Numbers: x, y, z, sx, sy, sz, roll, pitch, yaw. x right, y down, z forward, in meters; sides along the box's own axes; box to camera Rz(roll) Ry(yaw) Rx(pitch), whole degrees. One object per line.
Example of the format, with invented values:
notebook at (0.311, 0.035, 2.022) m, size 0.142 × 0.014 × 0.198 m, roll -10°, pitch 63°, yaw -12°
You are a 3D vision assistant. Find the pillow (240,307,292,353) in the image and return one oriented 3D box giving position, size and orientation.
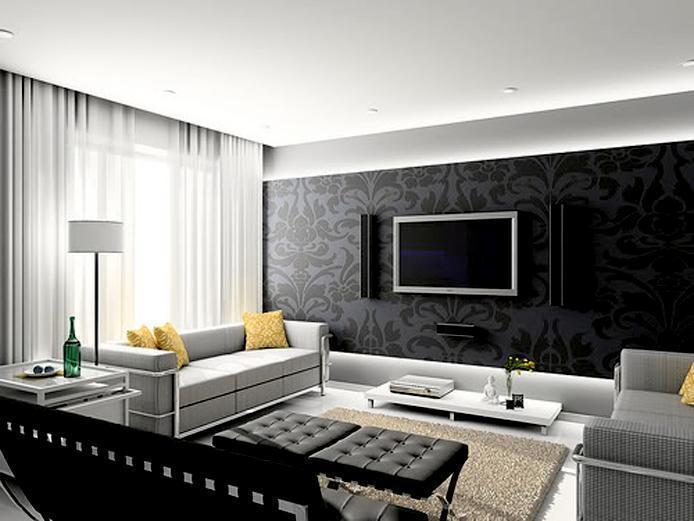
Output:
pillow at (-0.973, 0.731, 6.028) m, size 0.663 × 0.577 × 0.191 m, roll -9°, pitch 1°, yaw 30°

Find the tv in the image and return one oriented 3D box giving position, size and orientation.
tv at (1.191, -0.066, 5.596) m, size 1.361 × 0.860 × 0.139 m, roll 0°, pitch -1°, yaw 24°

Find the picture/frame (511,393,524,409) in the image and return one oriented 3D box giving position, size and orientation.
picture/frame at (1.641, 1.335, 4.873) m, size 0.136 × 0.183 × 0.133 m, roll 1°, pitch 0°, yaw 25°

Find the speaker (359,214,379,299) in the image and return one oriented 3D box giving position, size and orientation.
speaker at (0.255, -0.037, 6.111) m, size 0.231 × 1.028 × 0.207 m, roll 1°, pitch -1°, yaw -32°

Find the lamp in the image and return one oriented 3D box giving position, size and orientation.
lamp at (-2.222, 0.261, 4.418) m, size 0.405 × 1.249 × 0.690 m, roll -3°, pitch 2°, yaw -36°

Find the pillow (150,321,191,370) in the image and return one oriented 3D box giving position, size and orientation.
pillow at (-1.655, 0.803, 4.719) m, size 0.224 × 0.358 × 0.417 m, roll 0°, pitch -3°, yaw 12°

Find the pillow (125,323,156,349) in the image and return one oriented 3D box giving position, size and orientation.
pillow at (-1.926, 0.709, 4.689) m, size 0.092 × 0.167 × 0.172 m, roll -22°, pitch -18°, yaw 21°
